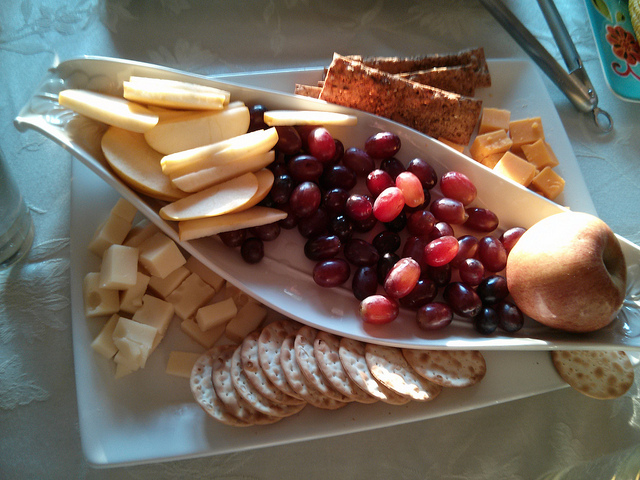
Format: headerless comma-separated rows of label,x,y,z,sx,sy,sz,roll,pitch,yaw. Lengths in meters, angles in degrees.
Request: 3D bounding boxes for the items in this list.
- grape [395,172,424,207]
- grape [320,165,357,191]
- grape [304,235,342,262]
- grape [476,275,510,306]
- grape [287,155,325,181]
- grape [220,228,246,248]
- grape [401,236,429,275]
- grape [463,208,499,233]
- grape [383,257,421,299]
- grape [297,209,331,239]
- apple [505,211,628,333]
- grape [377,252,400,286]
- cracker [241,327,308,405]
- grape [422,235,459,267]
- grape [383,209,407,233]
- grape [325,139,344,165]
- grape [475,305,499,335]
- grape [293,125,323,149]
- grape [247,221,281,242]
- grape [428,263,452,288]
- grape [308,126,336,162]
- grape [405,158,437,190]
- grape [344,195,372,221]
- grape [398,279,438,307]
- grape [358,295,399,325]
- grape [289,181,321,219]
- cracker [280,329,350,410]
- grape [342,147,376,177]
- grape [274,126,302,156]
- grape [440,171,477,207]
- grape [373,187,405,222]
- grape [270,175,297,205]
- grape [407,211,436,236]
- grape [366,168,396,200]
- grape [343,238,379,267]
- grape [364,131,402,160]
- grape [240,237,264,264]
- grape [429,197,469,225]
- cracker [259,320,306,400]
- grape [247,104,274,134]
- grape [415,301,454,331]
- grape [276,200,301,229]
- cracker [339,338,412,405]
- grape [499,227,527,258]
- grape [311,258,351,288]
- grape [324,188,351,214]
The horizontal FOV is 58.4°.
grape,0.193,-0.111,1.224,0.048,0.052,0.071,-37,97,4
grape,0.041,-0.138,1.252,0.066,0.047,0.046,5,104,7
grape,0.007,0.015,1.219,0.062,0.047,0.043,-8,105,-1
grape,0.367,0.105,1.238,0.066,0.040,0.053,-11,73,-34
grape,-0.029,-0.157,1.236,0.066,0.048,0.044,10,33,-10
grape,-0.185,-0.006,1.229,0.034,0.024,0.046,0,97,0
grape,0.200,0.028,1.220,0.046,0.043,0.085,4,94,14
grape,0.352,-0.047,1.263,0.067,0.043,0.043,11,107,36
grape,0.165,0.079,1.175,0.090,0.047,0.057,-51,127,-12
grape,-0.011,-0.034,1.234,0.064,0.049,0.052,-32,122,-16
apple,0.532,0.072,1.235,0.234,0.242,0.255,-16,97,-33
grape,0.155,0.061,1.259,0.035,0.043,0.065,38,72,-23
cracker,-0.087,0.265,1.249,0.021,0.176,0.193,-52,42,11
grape,0.250,0.022,1.198,0.072,0.045,0.050,-26,73,-20
grape,0.172,-0.045,1.252,0.039,0.025,0.053,2,97,1
grape,0.033,-0.193,1.270,0.037,0.028,0.055,9,82,-15
grape,0.346,0.169,1.191,0.037,0.040,0.057,3,63,-13
grape,-0.029,-0.223,1.274,0.038,0.027,0.052,12,86,-7
grape,-0.115,-0.019,1.234,0.047,0.044,0.027,-8,54,1
grape,0.255,0.074,1.233,0.037,0.038,0.057,-1,94,-28
grape,0.009,-0.202,1.258,0.050,0.053,0.075,-16,84,5
grape,0.222,-0.157,1.310,0.070,0.055,0.052,41,56,17
grape,0.081,-0.070,1.211,0.039,0.054,0.045,-3,93,-35
grape,0.212,0.104,1.243,0.072,0.045,0.047,-27,113,-15
grape,0.126,0.146,1.206,0.091,0.069,0.062,4,112,-19
grape,-0.032,-0.089,1.214,0.055,0.054,0.078,7,97,-34
cracker,-0.021,0.272,1.174,0.018,0.132,0.136,-38,108,24
grape,0.086,-0.175,1.267,0.069,0.037,0.049,39,99,-1
grape,-0.071,-0.213,1.274,0.067,0.042,0.054,13,43,28
grape,0.304,-0.118,1.276,0.080,0.064,0.070,13,107,19
grape,0.145,-0.076,1.212,0.073,0.052,0.056,-45,113,-9
grape,-0.080,-0.108,1.229,0.046,0.049,0.063,32,59,18
grape,0.216,-0.038,1.235,0.042,0.053,0.047,-1,92,-35
grape,0.123,-0.134,1.285,0.064,0.096,0.057,2,82,-8
grape,0.088,0.028,1.233,0.064,0.040,0.050,21,48,8
grape,0.139,-0.212,1.267,0.067,0.053,0.044,-1,58,-18
grape,-0.144,0.022,1.230,0.040,0.025,0.052,0,84,-1
grape,0.278,-0.063,1.243,0.069,0.046,0.046,18,95,22
cracker,-0.086,0.239,1.189,0.110,0.015,0.138,9,50,-36
grape,-0.137,-0.268,1.249,0.049,0.054,0.069,3,102,12
grape,0.234,0.157,1.194,0.065,0.042,0.051,-2,45,-17
grape,-0.070,-0.054,1.258,0.047,0.027,0.055,-23,97,-21
cracker,0.105,0.270,1.182,0.121,0.014,0.136,31,32,-20
grape,0.410,0.008,1.250,0.050,0.055,0.070,-2,90,0
grape,0.023,0.056,1.211,0.069,0.045,0.052,-20,36,-28
grape,0.035,-0.084,1.232,0.043,0.055,0.051,-8,66,18
